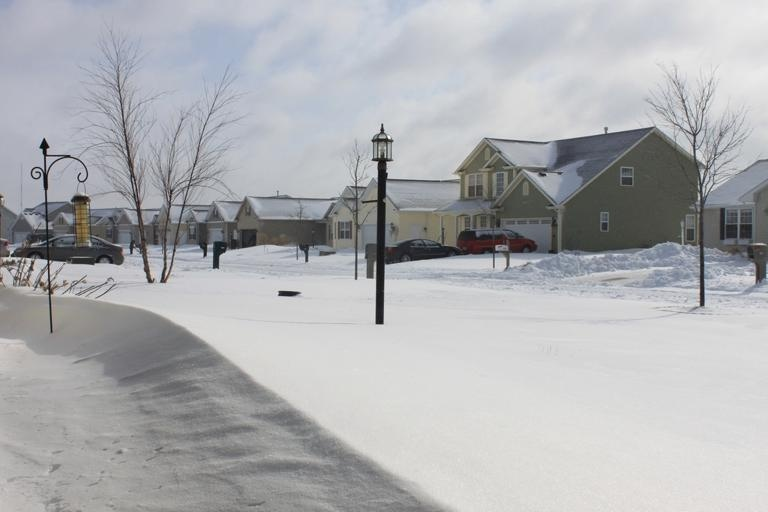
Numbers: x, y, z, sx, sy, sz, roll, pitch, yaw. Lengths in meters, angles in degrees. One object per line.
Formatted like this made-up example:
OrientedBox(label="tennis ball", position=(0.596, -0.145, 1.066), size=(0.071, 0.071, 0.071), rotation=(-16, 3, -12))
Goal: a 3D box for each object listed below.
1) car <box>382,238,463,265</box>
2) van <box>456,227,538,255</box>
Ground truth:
OrientedBox(label="car", position=(1.473, -0.291, 35.350), size=(2.733, 0.985, 1.227), rotation=(-4, 1, -20))
OrientedBox(label="van", position=(5.159, -0.722, 37.161), size=(2.842, 1.148, 1.435), rotation=(-4, 4, -22))
